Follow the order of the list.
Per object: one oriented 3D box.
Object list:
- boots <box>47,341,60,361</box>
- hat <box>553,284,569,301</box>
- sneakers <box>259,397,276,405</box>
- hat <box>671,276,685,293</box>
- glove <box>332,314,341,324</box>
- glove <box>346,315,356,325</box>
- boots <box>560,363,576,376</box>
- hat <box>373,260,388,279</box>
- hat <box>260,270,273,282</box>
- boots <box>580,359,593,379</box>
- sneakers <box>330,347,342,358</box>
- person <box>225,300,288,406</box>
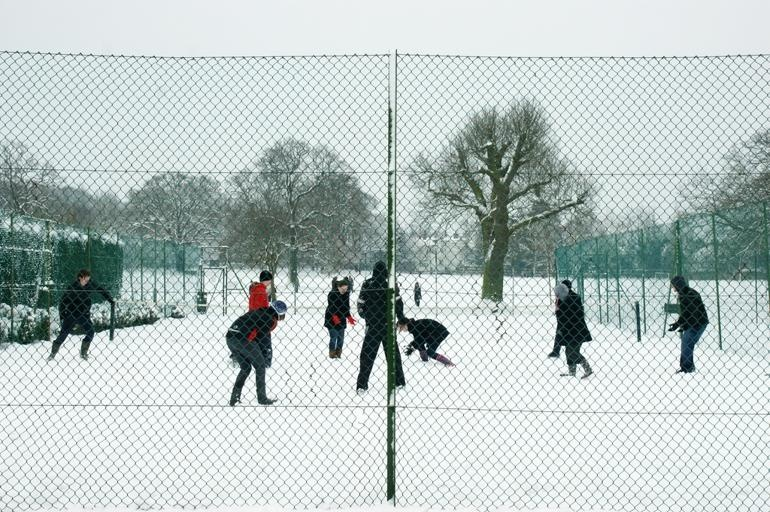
[{"bbox_3d":[-6.482,1.839,18.357,0.152,0.320,0.326,15,35,-20],"label":"boots"},{"bbox_3d":[3.346,0.653,17.989,0.298,0.272,0.304,-2,5,-4],"label":"hat"},{"bbox_3d":[-1.959,2.387,15.607,0.277,0.120,0.239,-8,-10,26],"label":"sneakers"},{"bbox_3d":[5.751,0.533,18.434,0.218,0.260,0.240,-26,53,-31],"label":"hat"},{"bbox_3d":[-0.959,1.202,18.299,0.098,0.188,0.094,-28,-22,28],"label":"glove"},{"bbox_3d":[-0.612,1.231,18.007,0.162,0.182,0.050,15,44,42],"label":"glove"},{"bbox_3d":[3.453,2.134,17.859,0.160,0.347,0.328,2,1,-7],"label":"boots"},{"bbox_3d":[-0.094,0.222,15.134,0.234,0.466,0.316,0,1,-3],"label":"hat"},{"bbox_3d":[-2.112,0.355,16.767,0.221,0.265,0.238,-3,-4,33],"label":"hat"},{"bbox_3d":[3.799,2.096,17.697,0.216,0.433,0.709,2,12,12],"label":"boots"},{"bbox_3d":[-0.989,1.905,18.732,0.128,0.248,0.226,1,-9,-8],"label":"sneakers"},{"bbox_3d":[-2.195,1.691,15.648,0.750,1.667,1.439,3,11,15],"label":"person"}]
